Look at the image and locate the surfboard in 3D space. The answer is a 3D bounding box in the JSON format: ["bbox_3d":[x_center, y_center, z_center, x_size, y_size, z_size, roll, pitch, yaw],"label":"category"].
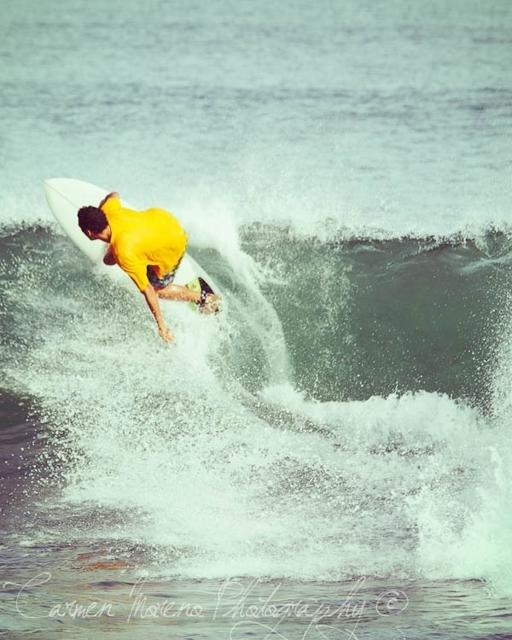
[{"bbox_3d":[-1.127,-0.541,8.940,0.780,1.973,0.581,16,78,53],"label":"surfboard"}]

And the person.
[{"bbox_3d":[-0.854,-0.487,8.367,0.846,1.624,0.965,38,62,13],"label":"person"}]
